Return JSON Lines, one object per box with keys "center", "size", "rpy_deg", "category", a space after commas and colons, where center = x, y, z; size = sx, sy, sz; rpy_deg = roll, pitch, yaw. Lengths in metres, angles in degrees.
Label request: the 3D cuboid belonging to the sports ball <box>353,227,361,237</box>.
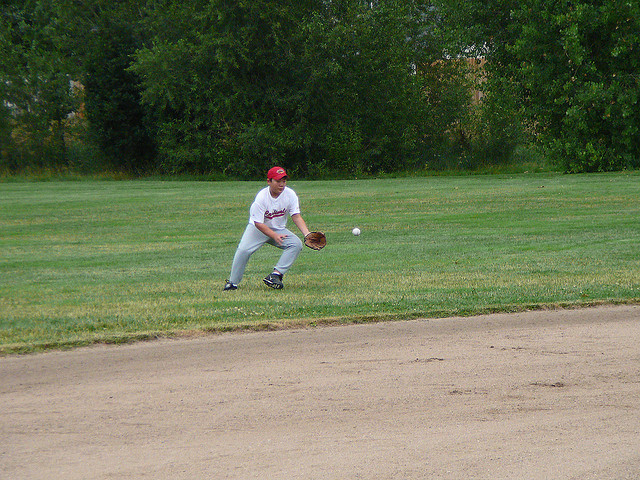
{"center": [1.238, -0.264, 37.432], "size": [0.259, 0.250, 0.192], "rpy_deg": [-16, 2, -42], "category": "sports ball"}
